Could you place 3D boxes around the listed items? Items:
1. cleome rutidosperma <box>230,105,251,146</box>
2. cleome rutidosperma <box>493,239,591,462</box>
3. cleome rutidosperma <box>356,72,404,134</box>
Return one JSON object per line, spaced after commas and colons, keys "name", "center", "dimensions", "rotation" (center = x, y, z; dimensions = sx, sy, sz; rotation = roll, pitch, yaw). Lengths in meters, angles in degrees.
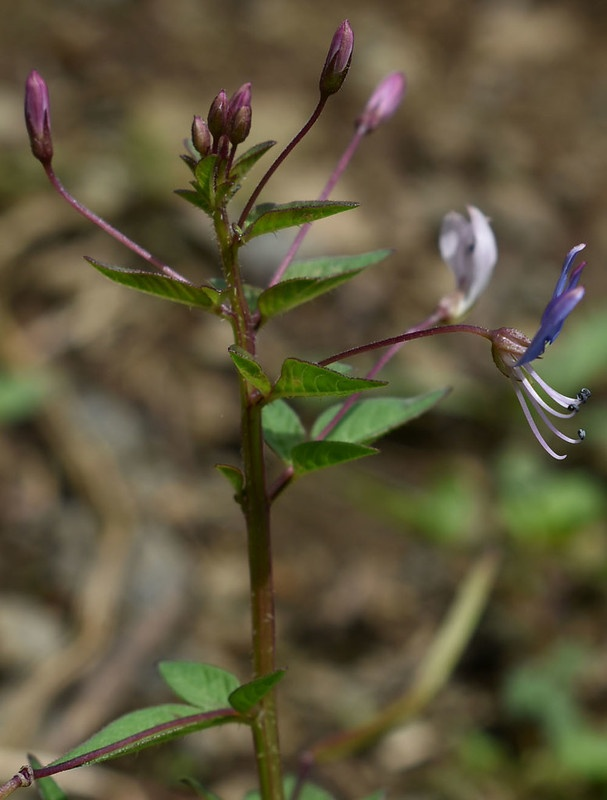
{"name": "cleome rutidosperma", "center": [-0.078, -0.325, 1.010], "dimensions": [0.031, 0.045, 0.016], "rotation": [7, 21, -16]}
{"name": "cleome rutidosperma", "center": [0.299, -0.061, 1.028], "dimensions": [0.138, 0.233, 0.110], "rotation": [8, 25, 22]}
{"name": "cleome rutidosperma", "center": [0.119, -0.458, 1.317], "dimensions": [0.043, 0.089, 0.091], "rotation": [22, 37, 16]}
